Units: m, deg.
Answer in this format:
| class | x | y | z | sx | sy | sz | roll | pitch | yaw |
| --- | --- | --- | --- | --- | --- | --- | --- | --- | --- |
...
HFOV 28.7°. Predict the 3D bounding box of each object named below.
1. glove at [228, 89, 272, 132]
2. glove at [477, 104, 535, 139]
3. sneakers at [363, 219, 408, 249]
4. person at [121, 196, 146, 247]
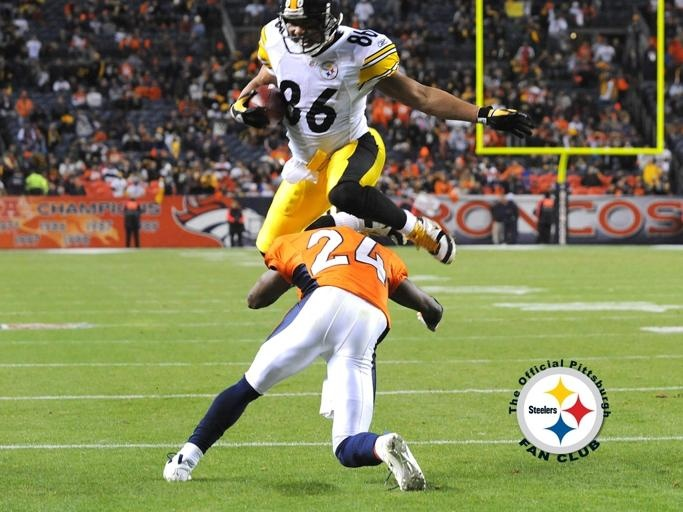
| class | x | y | z | sx | sy | sz | roll | pitch | yaw |
| --- | --- | --- | --- | --- | --- | --- | --- | --- | --- |
| glove | -0.976 | -1.498 | 13.845 | 0.446 | 0.198 | 0.331 | 19 | 52 | 18 |
| glove | 1.700 | -1.393 | 13.826 | 0.516 | 0.306 | 0.189 | 14 | 8 | 8 |
| sneakers | 0.461 | -0.267 | 13.962 | 0.419 | 0.166 | 0.235 | 26 | -8 | -10 |
| person | -4.160 | -0.680 | 26.968 | 0.402 | 1.084 | 0.299 | -10 | 17 | -30 |
